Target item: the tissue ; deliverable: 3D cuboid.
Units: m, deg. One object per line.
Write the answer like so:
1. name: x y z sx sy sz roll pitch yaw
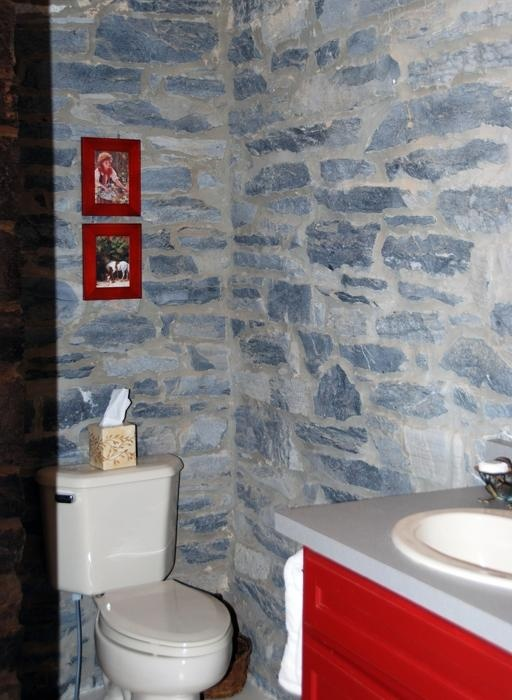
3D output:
1. tissue : -0.523 0.285 2.285 0.193 0.259 0.182 -3 3 1
